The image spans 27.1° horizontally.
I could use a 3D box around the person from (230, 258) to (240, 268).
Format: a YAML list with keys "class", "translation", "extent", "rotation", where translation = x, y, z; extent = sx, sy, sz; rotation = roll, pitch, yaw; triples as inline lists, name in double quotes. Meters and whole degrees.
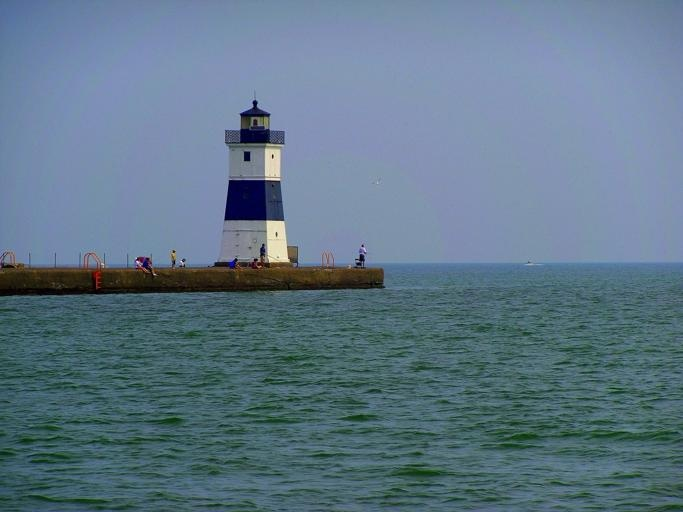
- class: "person"
  translation: [-6.238, 0.489, 83.743]
  extent: [0.517, 0.874, 0.554]
  rotation: [0, 7, -33]

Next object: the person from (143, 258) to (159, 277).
- class: "person"
  translation: [-10.678, 0.685, 80.010]
  extent: [0.736, 0.845, 0.988]
  rotation: [-1, 11, -8]
